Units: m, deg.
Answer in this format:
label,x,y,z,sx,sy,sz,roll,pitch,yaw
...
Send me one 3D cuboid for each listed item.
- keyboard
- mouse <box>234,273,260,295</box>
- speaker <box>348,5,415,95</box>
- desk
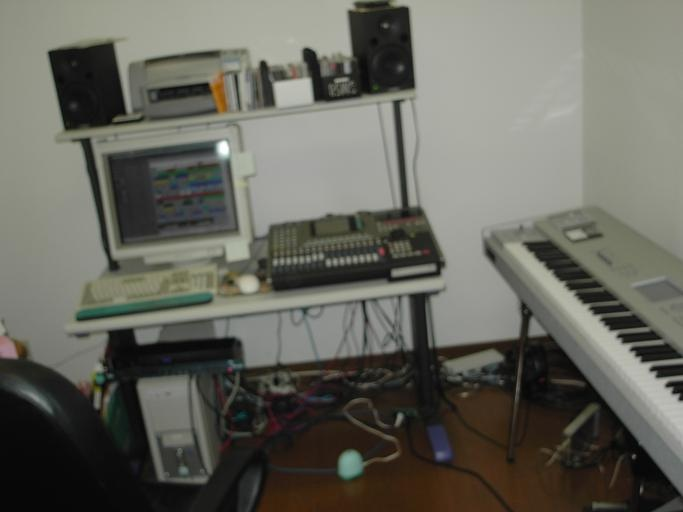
label,x,y,z,sx,sy,sz,roll,pitch,yaw
keyboard,-0.863,0.158,2.718,0.613,0.115,0.192,-7,25,1
mouse,-0.410,0.128,2.696,0.099,0.074,0.067,-13,25,-13
speaker,0.141,-0.987,2.871,0.204,0.393,0.395,-21,28,-31
desk,-0.071,-0.103,3.000,0.491,1.240,1.234,1,19,-42
